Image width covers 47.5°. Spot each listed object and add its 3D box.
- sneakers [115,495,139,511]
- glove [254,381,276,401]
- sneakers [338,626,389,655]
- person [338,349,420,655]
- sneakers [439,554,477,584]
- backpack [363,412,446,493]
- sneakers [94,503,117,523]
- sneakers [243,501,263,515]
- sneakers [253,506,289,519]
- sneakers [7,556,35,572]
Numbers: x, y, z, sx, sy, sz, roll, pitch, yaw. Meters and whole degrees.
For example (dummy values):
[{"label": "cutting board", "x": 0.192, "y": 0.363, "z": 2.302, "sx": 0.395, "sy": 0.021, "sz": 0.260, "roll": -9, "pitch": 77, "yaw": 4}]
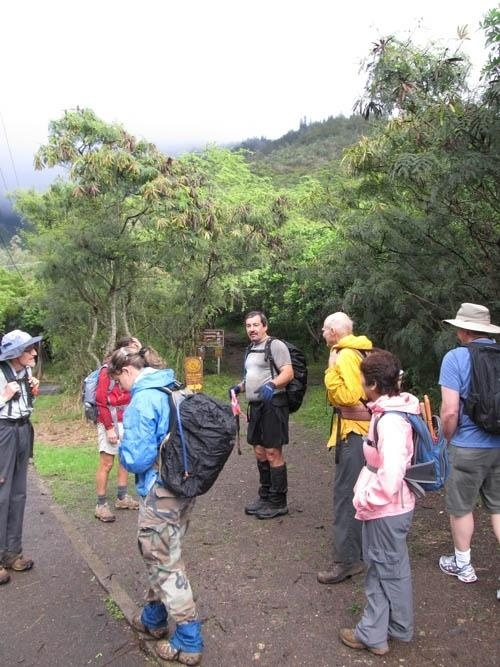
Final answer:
[{"label": "sneakers", "x": -1.262, "y": 1.738, "z": 5.846, "sx": 0.285, "sy": 0.170, "sz": 0.126, "roll": 1, "pitch": 3, "yaw": -4}, {"label": "glove", "x": 0.158, "y": 0.531, "z": 5.262, "sx": 0.165, "sy": 0.181, "sz": 0.315, "roll": -2, "pitch": 2, "yaw": 0}, {"label": "sneakers", "x": 0.682, "y": 1.818, "z": 3.376, "sx": 0.281, "sy": 0.123, "sz": 0.105, "roll": 20, "pitch": 14, "yaw": 22}, {"label": "person", "x": 0.760, "y": 0.983, "z": 3.323, "sx": 0.410, "sy": 1.754, "sz": 0.377, "roll": -1, "pitch": 3, "yaw": 34}, {"label": "sneakers", "x": 1.503, "y": 1.671, "z": 4.117, "sx": 0.115, "sy": 0.126, "sz": 0.276, "roll": -14, "pitch": 18, "yaw": -19}, {"label": "backpack", "x": 0.958, "y": 0.704, "z": 3.522, "sx": 0.550, "sy": 0.524, "sz": 0.393, "roll": -1, "pitch": 3, "yaw": -11}, {"label": "sneakers", "x": -1.414, "y": 1.754, "z": 5.564, "sx": 0.110, "sy": 0.108, "sz": 0.262, "roll": 2, "pitch": -3, "yaw": -36}, {"label": "sneakers", "x": 0.036, "y": 1.734, "z": 5.642, "sx": 0.202, "sy": 0.095, "sz": 0.088, "roll": 10, "pitch": -16, "yaw": -34}, {"label": "sneakers", "x": 0.225, "y": 1.709, "z": 5.484, "sx": 0.275, "sy": 0.136, "sz": 0.112, "roll": 4, "pitch": 0, "yaw": -12}, {"label": "sneakers", "x": -1.802, "y": 1.821, "z": 4.504, "sx": 0.225, "sy": 0.092, "sz": 0.087, "roll": 0, "pitch": 7, "yaw": 1}]
